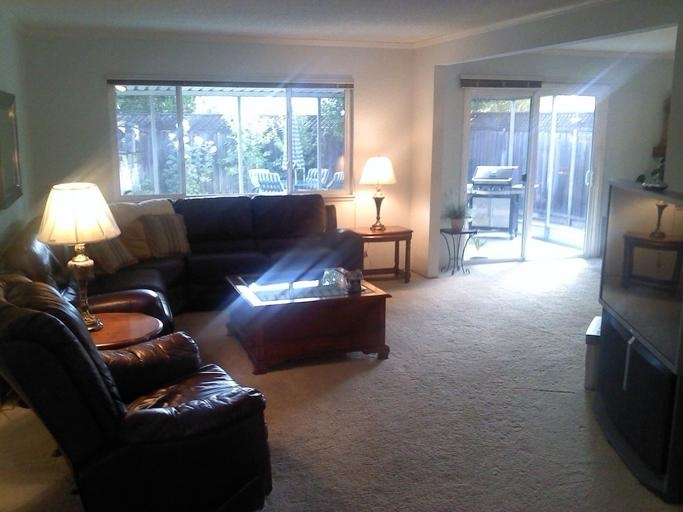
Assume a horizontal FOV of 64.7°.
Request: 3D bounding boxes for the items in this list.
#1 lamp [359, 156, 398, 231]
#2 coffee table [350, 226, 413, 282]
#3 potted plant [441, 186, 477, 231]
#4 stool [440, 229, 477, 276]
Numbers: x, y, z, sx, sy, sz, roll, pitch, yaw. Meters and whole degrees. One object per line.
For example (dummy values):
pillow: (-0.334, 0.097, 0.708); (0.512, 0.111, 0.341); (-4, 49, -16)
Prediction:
lamp: (0.432, -0.757, 6.449); (0.440, 0.839, 0.665); (0, 14, 5)
coffee table: (0.488, -0.120, 6.495); (0.988, 0.708, 0.599); (-3, 11, -19)
potted plant: (1.454, -0.563, 6.908); (0.562, 0.697, 0.504); (1, -1, 2)
stool: (1.565, -0.103, 6.895); (0.628, 0.553, 0.414); (-11, 17, -33)
